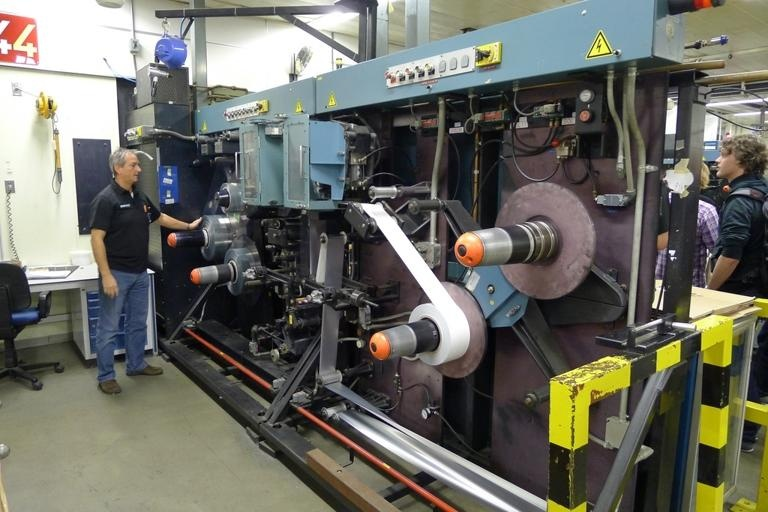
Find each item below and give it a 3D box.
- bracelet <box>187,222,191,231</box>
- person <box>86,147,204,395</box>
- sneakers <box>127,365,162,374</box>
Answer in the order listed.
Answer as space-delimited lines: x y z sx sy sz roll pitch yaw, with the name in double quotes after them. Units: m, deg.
-1.764 -0.265 5.380 0.016 0.059 0.057 15 41 -36 "bracelet"
-2.158 0.087 5.050 0.317 1.972 0.805 3 13 29 "person"
-2.081 1.007 5.196 0.279 0.109 0.102 -2 6 -19 "sneakers"
